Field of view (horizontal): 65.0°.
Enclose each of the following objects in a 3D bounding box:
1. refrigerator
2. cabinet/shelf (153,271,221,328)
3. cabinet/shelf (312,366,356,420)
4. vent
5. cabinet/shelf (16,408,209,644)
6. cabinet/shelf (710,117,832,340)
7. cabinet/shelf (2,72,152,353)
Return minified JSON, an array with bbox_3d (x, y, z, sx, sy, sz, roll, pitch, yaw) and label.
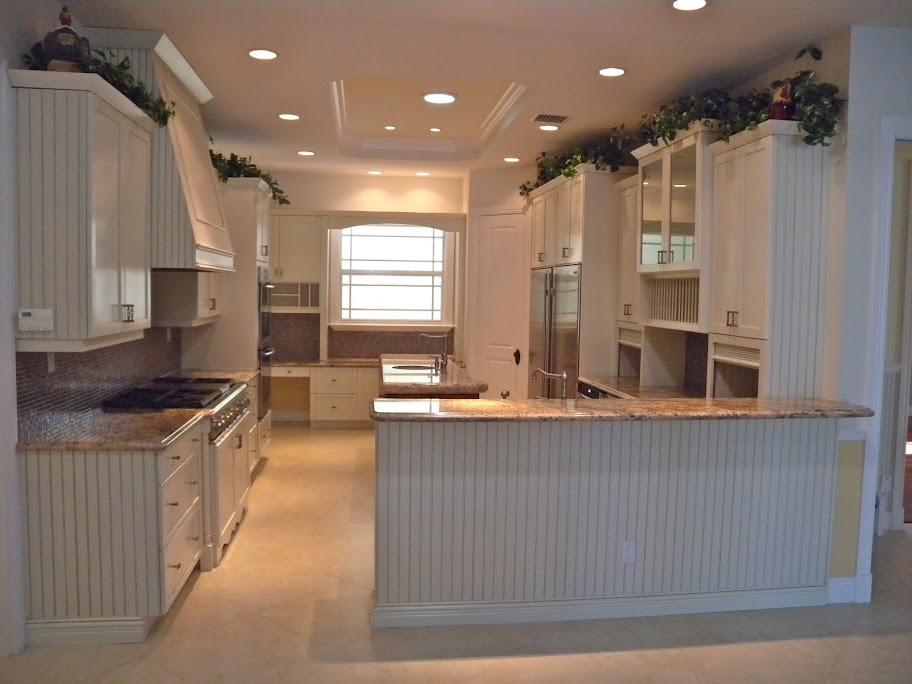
[{"bbox_3d":[0.923,-0.094,6.638,0.511,1.357,1.353,0,1,-4],"label":"refrigerator"},{"bbox_3d":[-2.115,-0.325,5.599,0.469,0.488,0.930,-3,9,-21],"label":"cabinet/shelf"},{"bbox_3d":[-1.393,0.584,8.501,0.629,0.925,0.550,0,-1,-6],"label":"cabinet/shelf"},{"bbox_3d":[-1.803,-1.103,4.319,0.548,1.368,1.436,-1,3,-6],"label":"vent"},{"bbox_3d":[-1.943,0.985,4.038,0.832,1.154,0.766,0,8,-5],"label":"cabinet/shelf"},{"bbox_3d":[1.868,-0.667,4.338,0.673,1.256,0.440,5,9,28],"label":"cabinet/shelf"},{"bbox_3d":[-1.938,-0.683,3.867,0.387,1.406,0.835,3,8,18],"label":"cabinet/shelf"}]
